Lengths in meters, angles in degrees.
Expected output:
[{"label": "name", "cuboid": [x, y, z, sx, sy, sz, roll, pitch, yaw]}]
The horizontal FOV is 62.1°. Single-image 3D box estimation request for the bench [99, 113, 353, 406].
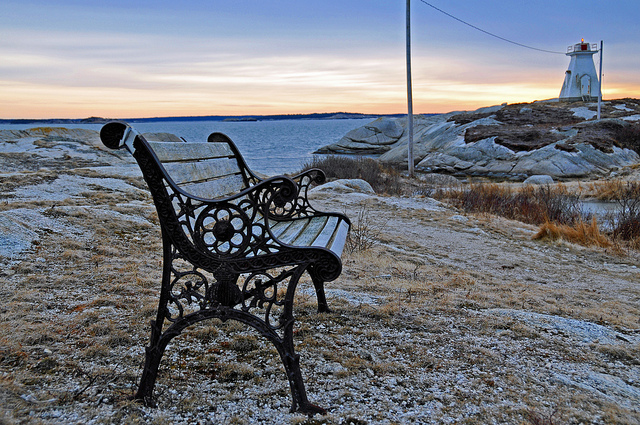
[{"label": "bench", "cuboid": [-0.673, 0.298, 5.822, 1.881, 2.170, 3.098, 4, 7, 2]}]
